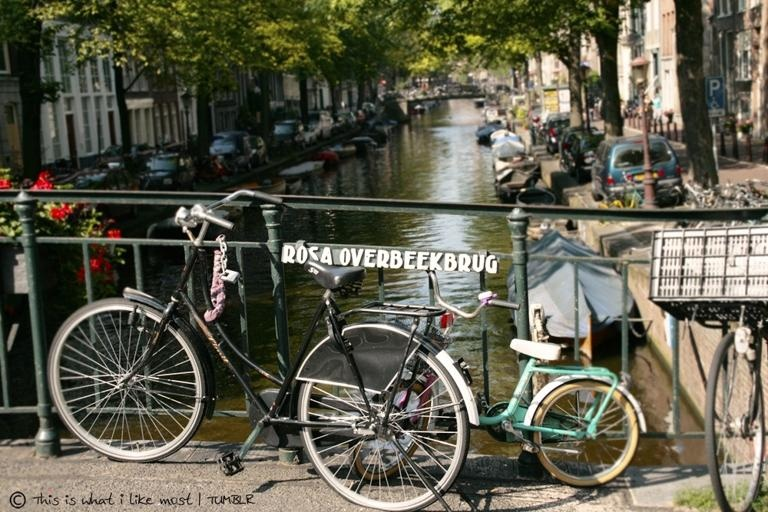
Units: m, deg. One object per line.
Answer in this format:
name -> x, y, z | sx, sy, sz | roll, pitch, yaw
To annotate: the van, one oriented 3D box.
van -> 6.487, -2.350, 28.403 | 1.390, 1.406, 2.736 | -6, 15, 6
